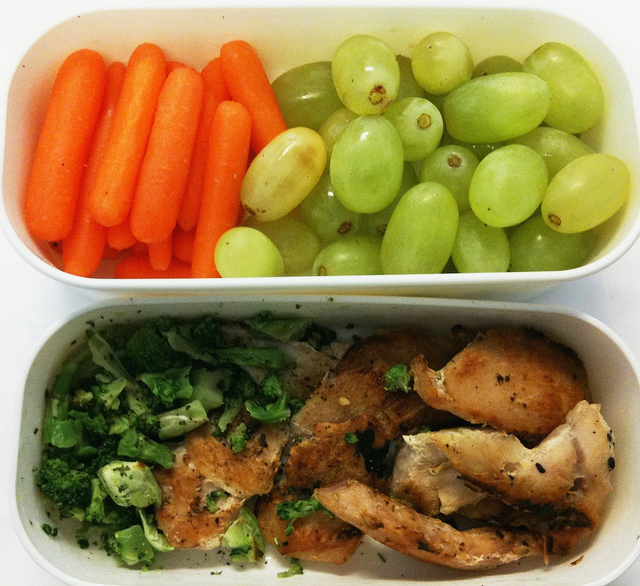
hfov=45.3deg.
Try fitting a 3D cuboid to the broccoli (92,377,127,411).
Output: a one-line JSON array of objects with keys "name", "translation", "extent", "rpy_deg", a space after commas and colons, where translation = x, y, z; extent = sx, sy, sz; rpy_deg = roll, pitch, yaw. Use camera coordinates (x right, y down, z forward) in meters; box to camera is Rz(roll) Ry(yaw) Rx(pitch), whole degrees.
[{"name": "broccoli", "translation": [-0.595, 0.284, 2.155], "extent": [0.088, 0.026, 0.085], "rpy_deg": [-8, 75, -8]}]

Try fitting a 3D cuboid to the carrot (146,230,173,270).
[{"name": "carrot", "translation": [-0.464, -0.123, 2.170], "extent": [0.059, 0.044, 0.121], "rpy_deg": [2, 94, -2]}]

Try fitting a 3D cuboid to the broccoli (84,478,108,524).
[{"name": "broccoli", "translation": [-0.618, 0.576, 2.117], "extent": [0.070, 0.053, 0.108], "rpy_deg": [-2, 78, -10]}]

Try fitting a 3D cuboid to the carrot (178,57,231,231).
[{"name": "carrot", "translation": [-0.331, -0.423, 2.241], "extent": [0.104, 0.116, 0.541], "rpy_deg": [13, 94, 2]}]

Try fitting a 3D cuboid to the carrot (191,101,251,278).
[{"name": "carrot", "translation": [-0.268, -0.297, 2.192], "extent": [0.133, 0.132, 0.547], "rpy_deg": [8, 90, 0]}]

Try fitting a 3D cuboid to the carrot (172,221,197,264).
[{"name": "carrot", "translation": [-0.398, -0.142, 2.263], "extent": [0.087, 0.059, 0.104], "rpy_deg": [3, 97, -7]}]

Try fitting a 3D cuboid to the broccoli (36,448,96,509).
[{"name": "broccoli", "translation": [-0.714, 0.525, 2.125], "extent": [0.164, 0.097, 0.114], "rpy_deg": [22, 72, 12]}]

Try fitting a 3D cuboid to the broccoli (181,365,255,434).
[{"name": "broccoli", "translation": [-0.284, 0.307, 2.216], "extent": [0.180, 0.049, 0.184], "rpy_deg": [5, 84, -19]}]

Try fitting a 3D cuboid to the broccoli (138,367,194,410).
[{"name": "broccoli", "translation": [-0.436, 0.277, 2.194], "extent": [0.133, 0.135, 0.044], "rpy_deg": [53, 125, 32]}]

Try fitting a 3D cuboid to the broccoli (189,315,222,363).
[{"name": "broccoli", "translation": [-0.324, 0.125, 2.192], "extent": [0.087, 0.029, 0.112], "rpy_deg": [-35, 109, -8]}]

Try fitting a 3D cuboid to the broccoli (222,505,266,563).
[{"name": "broccoli", "translation": [-0.218, 0.689, 2.200], "extent": [0.068, 0.214, 0.156], "rpy_deg": [29, 55, -34]}]

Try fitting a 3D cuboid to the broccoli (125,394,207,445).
[{"name": "broccoli", "translation": [-0.443, 0.376, 2.196], "extent": [0.235, 0.136, 0.060], "rpy_deg": [-1, 112, 0]}]

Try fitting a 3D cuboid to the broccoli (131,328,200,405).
[{"name": "broccoli", "translation": [-0.440, 0.211, 2.222], "extent": [0.217, 0.101, 0.177], "rpy_deg": [35, 92, 1]}]

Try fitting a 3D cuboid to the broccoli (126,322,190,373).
[{"name": "broccoli", "translation": [-0.466, 0.162, 2.169], "extent": [0.158, 0.085, 0.134], "rpy_deg": [13, 111, -4]}]

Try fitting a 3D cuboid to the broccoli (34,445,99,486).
[{"name": "broccoli", "translation": [-0.705, 0.482, 2.133], "extent": [0.178, 0.081, 0.062], "rpy_deg": [-31, 69, -9]}]

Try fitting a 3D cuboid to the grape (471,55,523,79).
[{"name": "grape", "translation": [0.494, -0.635, 2.166], "extent": [0.107, 0.083, 0.058], "rpy_deg": [4, 74, -40]}]

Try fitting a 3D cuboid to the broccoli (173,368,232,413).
[{"name": "broccoli", "translation": [-0.330, 0.295, 2.250], "extent": [0.197, 0.205, 0.052], "rpy_deg": [9, 95, 11]}]

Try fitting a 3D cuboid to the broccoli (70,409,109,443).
[{"name": "broccoli", "translation": [-0.637, 0.371, 2.150], "extent": [0.103, 0.046, 0.076], "rpy_deg": [10, 92, -4]}]

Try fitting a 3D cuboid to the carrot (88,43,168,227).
[{"name": "carrot", "translation": [-0.519, -0.430, 2.180], "extent": [0.149, 0.155, 0.593], "rpy_deg": [16, 87, -10]}]

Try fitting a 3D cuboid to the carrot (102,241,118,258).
[{"name": "carrot", "translation": [-0.616, -0.128, 2.266], "extent": [0.040, 0.038, 0.037], "rpy_deg": [2, 57, 1]}]

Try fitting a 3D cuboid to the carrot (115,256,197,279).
[{"name": "carrot", "translation": [-0.480, -0.070, 2.206], "extent": [0.201, 0.095, 0.064], "rpy_deg": [3, 95, 0]}]

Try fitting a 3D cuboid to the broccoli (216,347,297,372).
[{"name": "broccoli", "translation": [-0.181, 0.196, 2.264], "extent": [0.244, 0.060, 0.075], "rpy_deg": [3, 90, -2]}]

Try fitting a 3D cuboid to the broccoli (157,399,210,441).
[{"name": "broccoli", "translation": [-0.393, 0.363, 2.184], "extent": [0.145, 0.051, 0.084], "rpy_deg": [-23, 88, -1]}]
